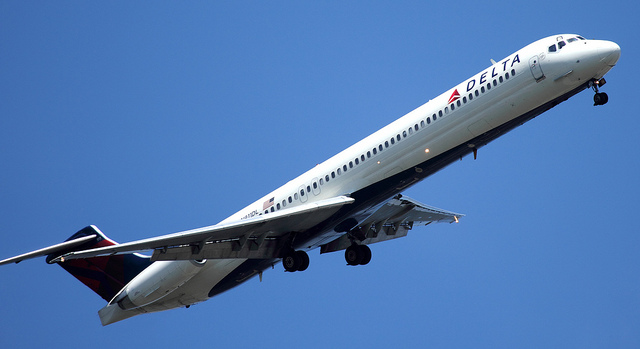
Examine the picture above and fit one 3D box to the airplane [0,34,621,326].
[{"bbox_3d":[1.069,0.508,30.064,15.444,15.162,3.900,-31,-109,13],"label":"airplane"}]
